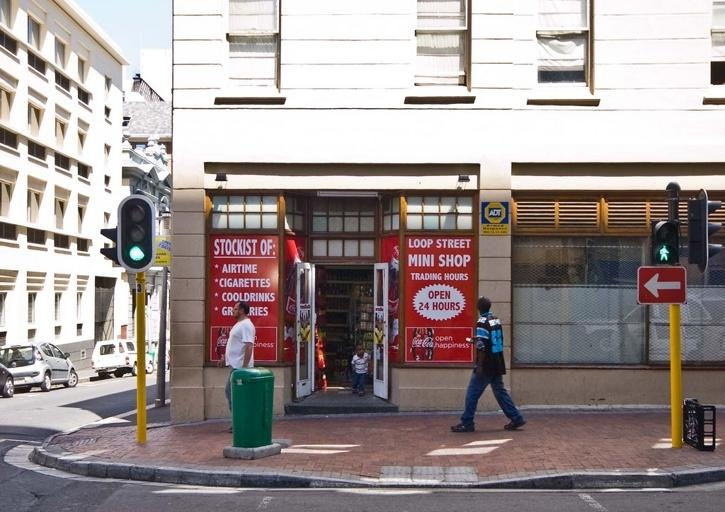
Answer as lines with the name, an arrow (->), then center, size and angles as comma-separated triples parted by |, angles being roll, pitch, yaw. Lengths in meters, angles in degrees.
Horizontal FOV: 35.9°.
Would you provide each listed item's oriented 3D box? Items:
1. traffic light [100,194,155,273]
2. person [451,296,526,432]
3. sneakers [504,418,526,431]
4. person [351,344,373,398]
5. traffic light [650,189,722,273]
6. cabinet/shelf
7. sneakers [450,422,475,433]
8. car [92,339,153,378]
traffic light -> -4.594, -0.419, 22.124 | 0.968, 1.524, 0.503 | -3, 7, -9
person -> 2.581, 2.251, 22.897 | 1.327, 2.685, 0.726 | -1, 7, 4
sneakers -> 3.125, 3.457, 22.912 | 0.449, 0.214, 0.203 | -6, 3, -5
person -> -0.031, 2.695, 26.123 | 0.433, 1.166, 0.407 | 2, 15, 3
traffic light -> 6.204, -0.535, 21.496 | 1.258, 1.680, 0.673 | 0, 7, 15
cabinet/shelf -> -0.364, 1.729, 28.896 | 1.485, 3.029, 0.844 | 1, 10, 8
sneakers -> 2.061, 3.507, 22.864 | 0.447, 0.229, 0.197 | 3, -3, 2
car -> -9.875, 4.236, 44.748 | 1.191, 1.739, 2.301 | 0, 8, 16
